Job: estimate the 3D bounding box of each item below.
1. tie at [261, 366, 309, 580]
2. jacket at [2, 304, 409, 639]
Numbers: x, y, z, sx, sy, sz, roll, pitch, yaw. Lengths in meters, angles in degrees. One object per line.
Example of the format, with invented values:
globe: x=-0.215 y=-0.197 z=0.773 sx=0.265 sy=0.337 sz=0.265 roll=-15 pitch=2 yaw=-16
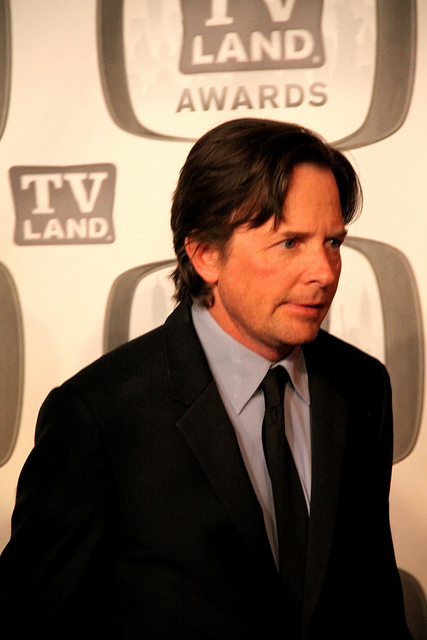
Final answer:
tie: x=0.130 y=0.231 z=0.907 sx=0.030 sy=0.084 sz=0.287 roll=14 pitch=64 yaw=-16
jacket: x=0.027 y=0.271 z=0.956 sx=0.638 sy=0.570 sz=0.351 roll=5 pitch=-8 yaw=-16
